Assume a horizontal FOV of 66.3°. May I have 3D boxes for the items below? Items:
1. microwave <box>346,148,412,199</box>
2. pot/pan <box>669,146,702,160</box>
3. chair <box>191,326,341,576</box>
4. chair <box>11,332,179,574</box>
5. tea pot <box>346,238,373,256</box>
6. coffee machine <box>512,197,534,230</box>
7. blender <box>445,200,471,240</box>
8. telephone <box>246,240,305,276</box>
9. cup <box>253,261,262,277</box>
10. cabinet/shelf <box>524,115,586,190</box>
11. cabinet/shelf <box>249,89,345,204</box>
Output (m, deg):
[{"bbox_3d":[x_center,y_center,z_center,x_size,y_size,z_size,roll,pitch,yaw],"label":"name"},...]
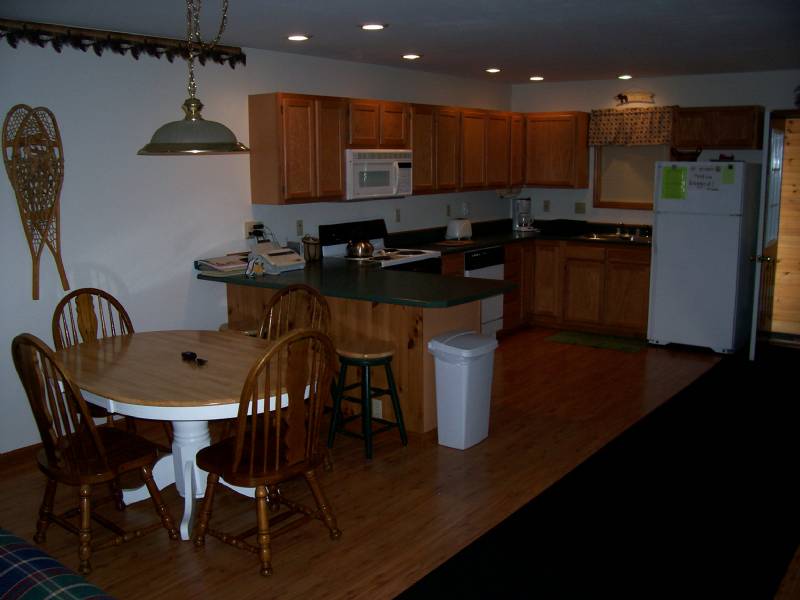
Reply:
[{"bbox_3d":[-0.216,-1.175,5.675,0.462,0.506,0.779,7,13,37],"label":"microwave"},{"bbox_3d":[3.019,-1.531,6.443,0.198,0.094,0.249,2,9,12],"label":"pot/pan"},{"bbox_3d":[-0.700,0.685,3.186,0.818,1.204,0.692,-8,15,-22],"label":"chair"},{"bbox_3d":[-1.645,0.684,3.175,0.736,1.202,0.560,10,19,44],"label":"chair"},{"bbox_3d":[-0.381,-0.482,5.783,0.181,0.127,0.186,0,7,0],"label":"tea pot"},{"bbox_3d":[1.553,-1.090,7.715,0.256,0.386,0.530,-1,14,10],"label":"coffee machine"},{"bbox_3d":[0.678,-0.906,6.985,0.228,0.394,0.407,9,13,28],"label":"blender"},{"bbox_3d":[-1.010,-0.340,4.973,0.431,0.236,0.302,-6,14,-12],"label":"telephone"},{"bbox_3d":[-1.120,-0.238,4.822,0.062,0.089,0.107,-4,14,-3],"label":"cup"},{"bbox_3d":[1.850,-1.757,7.204,0.746,0.925,0.317,3,7,26],"label":"cabinet/shelf"},{"bbox_3d":[-0.891,-1.275,5.105,0.412,0.833,0.871,8,13,39],"label":"cabinet/shelf"}]
